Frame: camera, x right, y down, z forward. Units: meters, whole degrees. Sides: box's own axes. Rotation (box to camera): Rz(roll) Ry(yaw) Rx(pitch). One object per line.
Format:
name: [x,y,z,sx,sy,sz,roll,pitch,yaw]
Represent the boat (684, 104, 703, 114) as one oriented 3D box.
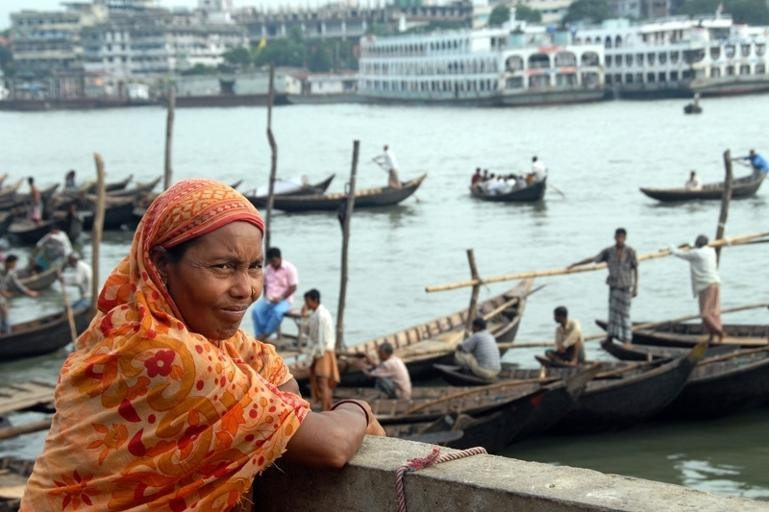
boat: [22.734,-10.790,113.171,1.595,0.629,1.749,0,-2,5]
